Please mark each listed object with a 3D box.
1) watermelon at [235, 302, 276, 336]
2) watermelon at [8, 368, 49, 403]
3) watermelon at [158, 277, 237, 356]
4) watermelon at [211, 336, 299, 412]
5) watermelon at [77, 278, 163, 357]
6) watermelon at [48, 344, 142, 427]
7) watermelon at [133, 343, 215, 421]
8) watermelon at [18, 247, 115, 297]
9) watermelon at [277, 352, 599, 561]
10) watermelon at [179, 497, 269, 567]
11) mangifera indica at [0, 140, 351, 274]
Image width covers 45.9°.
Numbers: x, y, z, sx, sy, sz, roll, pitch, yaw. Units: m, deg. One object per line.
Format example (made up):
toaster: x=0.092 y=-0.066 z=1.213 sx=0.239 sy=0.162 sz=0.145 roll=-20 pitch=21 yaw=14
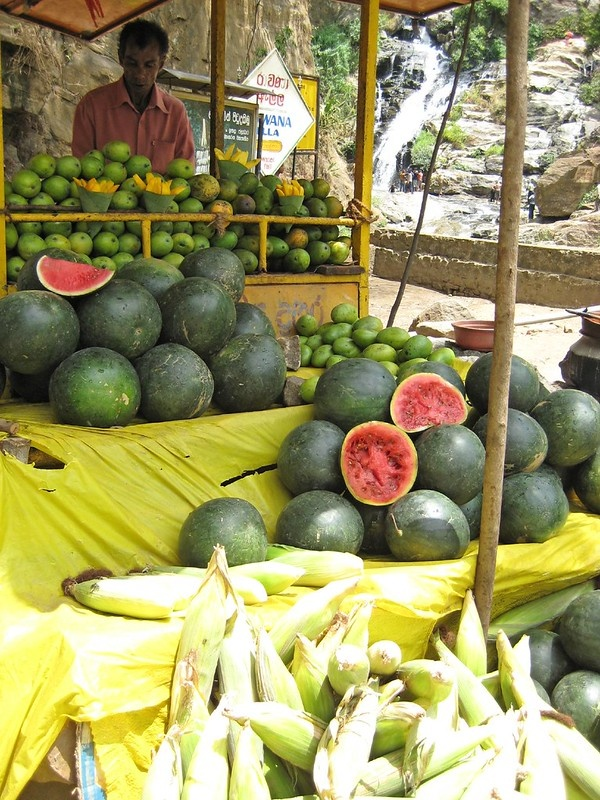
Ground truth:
watermelon: x=-0.196 y=-0.321 z=3.068 sx=0.167 sy=0.133 sz=0.359 roll=3 pitch=19 yaw=-4
watermelon: x=-1.046 y=-0.054 z=2.747 sx=0.153 sy=0.102 sz=0.145 roll=0 pitch=4 yaw=-12
watermelon: x=-0.413 y=-0.328 z=2.853 sx=0.327 sy=0.298 sz=0.349 roll=8 pitch=57 yaw=-16
watermelon: x=-0.206 y=-0.127 z=2.947 sx=0.264 sy=0.248 sz=0.333 roll=-9 pitch=18 yaw=23
watermelon: x=-0.674 y=-0.298 z=2.670 sx=0.287 sy=0.275 sz=0.333 roll=2 pitch=5 yaw=-31
watermelon: x=-0.671 y=-0.020 z=2.503 sx=0.314 sy=0.277 sz=0.274 roll=-1 pitch=62 yaw=0
watermelon: x=-0.467 y=-0.083 z=2.674 sx=0.297 sy=0.310 sz=0.291 roll=3 pitch=9 yaw=37
watermelon: x=-0.857 y=-0.452 z=2.588 sx=0.263 sy=0.098 sz=0.247 roll=4 pitch=29 yaw=-8
watermelon: x=0.494 y=0.250 z=2.570 sx=0.936 sy=0.341 sz=0.907 roll=-5 pitch=15 yaw=15
watermelon: x=-0.244 y=0.443 z=2.282 sx=0.286 sy=0.206 sz=0.231 roll=1 pitch=19 yaw=-9
mangifera indica: x=-0.658 y=-1.068 z=3.972 sx=0.849 sy=0.691 sz=2.055 roll=21 pitch=25 yaw=40
